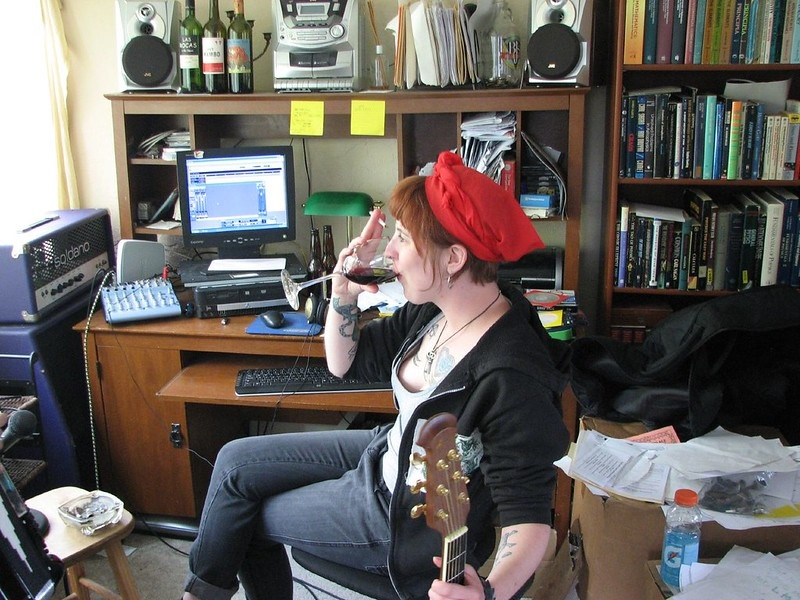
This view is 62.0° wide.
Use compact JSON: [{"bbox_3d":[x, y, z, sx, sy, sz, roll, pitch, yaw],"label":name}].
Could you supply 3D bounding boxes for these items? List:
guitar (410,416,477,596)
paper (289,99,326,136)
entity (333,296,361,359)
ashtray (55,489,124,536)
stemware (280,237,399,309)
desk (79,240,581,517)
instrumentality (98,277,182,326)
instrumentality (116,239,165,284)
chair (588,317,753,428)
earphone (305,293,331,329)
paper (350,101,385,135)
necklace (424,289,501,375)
[{"bbox_3d":[0.070,0.370,1.187,0.113,0.340,0.043,-14,18,-35],"label":"guitar"},{"bbox_3d":[-0.365,-0.697,2.521,0.125,0.125,0.032,1,11,8],"label":"paper"},{"bbox_3d":[-0.145,0.057,1.836,0.081,0.120,0.039,7,11,31],"label":"entity"},{"bbox_3d":[-0.890,0.626,1.937,0.157,0.070,0.143,26,18,25],"label":"ashtray"},{"bbox_3d":[-0.157,-0.063,1.792,0.308,0.126,0.141,-22,3,-8],"label":"stemware"},{"bbox_3d":[-0.458,0.457,2.491,1.258,0.776,0.460,0,12,14],"label":"desk"},{"bbox_3d":[-0.978,0.006,2.512,0.260,0.117,0.244,-11,17,-25],"label":"instrumentality"},{"bbox_3d":[-1.018,-0.151,2.686,0.180,0.178,0.066,0,-2,5],"label":"instrumentality"},{"bbox_3d":[0.964,0.211,2.292,0.509,0.254,0.547,3,-14,-35],"label":"chair"},{"bbox_3d":[-0.295,0.040,2.392,0.084,0.038,0.118,-5,58,-18],"label":"earphone"},{"bbox_3d":[-0.121,-0.694,2.529,0.123,0.123,0.031,2,12,12],"label":"paper"},{"bbox_3d":[0.148,0.086,1.630,0.022,0.318,0.102,-8,39,-44],"label":"necklace"}]
